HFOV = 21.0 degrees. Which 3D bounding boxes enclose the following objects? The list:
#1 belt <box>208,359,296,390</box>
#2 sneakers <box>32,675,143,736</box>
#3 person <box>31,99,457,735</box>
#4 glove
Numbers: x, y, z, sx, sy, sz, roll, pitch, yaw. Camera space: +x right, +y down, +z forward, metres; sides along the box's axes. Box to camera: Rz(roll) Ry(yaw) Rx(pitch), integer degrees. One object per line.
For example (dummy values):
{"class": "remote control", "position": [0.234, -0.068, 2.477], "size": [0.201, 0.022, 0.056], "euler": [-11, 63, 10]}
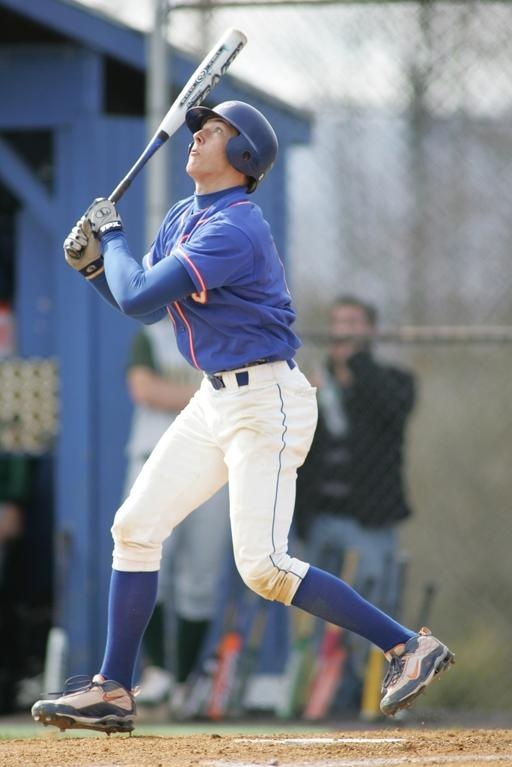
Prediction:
{"class": "belt", "position": [-0.021, -0.027, 4.210], "size": [0.262, 0.103, 0.141], "euler": [3, 2, 2]}
{"class": "sneakers", "position": [-0.481, 0.986, 4.235], "size": [0.356, 0.179, 0.144], "euler": [10, -40, -12]}
{"class": "person", "position": [-0.065, 0.109, 4.253], "size": [1.126, 1.948, 0.480], "euler": [3, 2, -7]}
{"class": "glove", "position": [-0.509, -0.451, 4.273], "size": [0.111, 0.231, 0.177], "euler": [30, 36, 1]}
